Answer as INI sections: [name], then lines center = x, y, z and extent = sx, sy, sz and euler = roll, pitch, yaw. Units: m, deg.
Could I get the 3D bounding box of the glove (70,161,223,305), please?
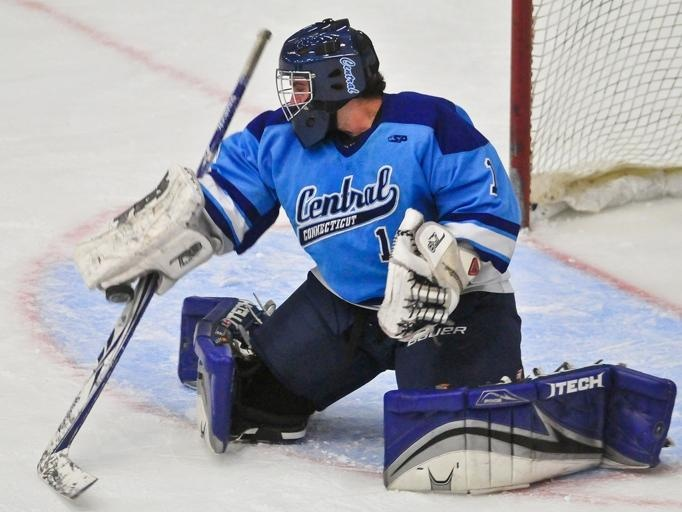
[glove]
center = -0.617, -0.045, 2.743
extent = 0.224, 0.519, 0.308
euler = 32, 33, -52

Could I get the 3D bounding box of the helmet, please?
[helmet]
center = -0.026, -0.602, 2.854
extent = 0.382, 0.373, 0.358
euler = -24, 25, -31
